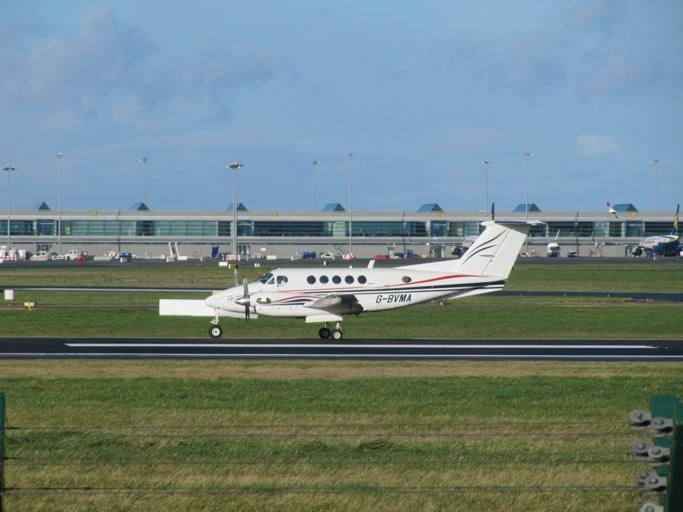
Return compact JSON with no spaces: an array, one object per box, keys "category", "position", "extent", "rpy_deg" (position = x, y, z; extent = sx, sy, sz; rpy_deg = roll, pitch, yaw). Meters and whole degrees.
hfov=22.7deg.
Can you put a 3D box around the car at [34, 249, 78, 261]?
[{"category":"car","position":[-35.119,-0.320,206.179],"extent":[4.610,1.060,1.412],"rpy_deg":[2,1,13]}]

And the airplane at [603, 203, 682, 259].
[{"category":"airplane","position":[38.137,-2.790,216.160],"extent":[6.197,3.830,7.701],"rpy_deg":[3,5,31]}]
